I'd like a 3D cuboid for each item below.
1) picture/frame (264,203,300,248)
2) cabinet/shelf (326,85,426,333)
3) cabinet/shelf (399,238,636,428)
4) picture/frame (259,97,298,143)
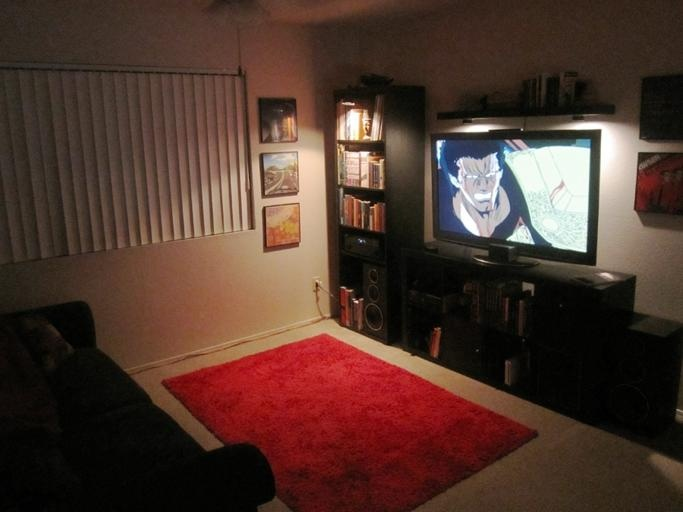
[{"bbox_3d":[-0.572,-0.304,4.885,0.365,0.402,0.027,-11,16,-36],"label":"picture/frame"},{"bbox_3d":[0.382,-0.413,4.917,0.630,2.276,0.756,-14,17,-37],"label":"cabinet/shelf"},{"bbox_3d":[1.277,0.528,4.145,0.502,0.991,1.621,-13,18,-42],"label":"cabinet/shelf"},{"bbox_3d":[-0.567,-1.239,4.766,0.380,0.400,0.030,-10,17,-31],"label":"picture/frame"}]
